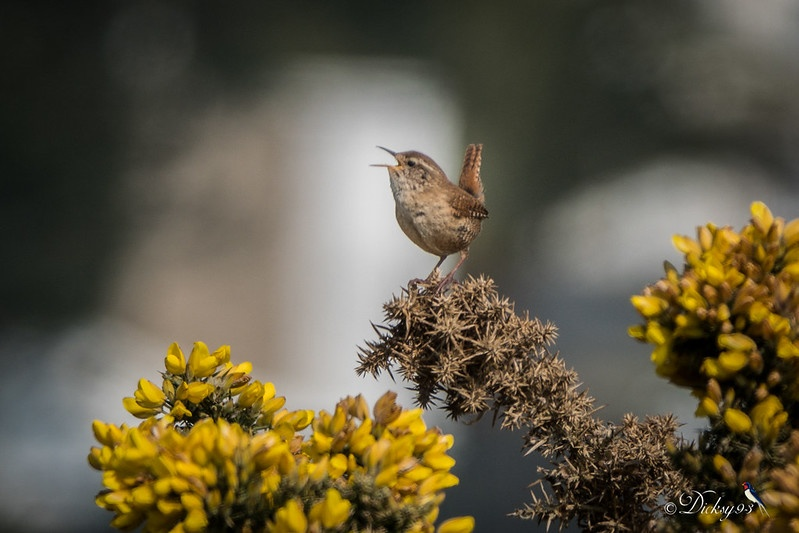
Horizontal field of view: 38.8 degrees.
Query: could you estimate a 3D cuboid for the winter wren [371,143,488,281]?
[{"bbox_3d":[0.137,-0.217,4.377,0.573,0.569,0.278,-3,0,-39],"label":"winter wren"}]
